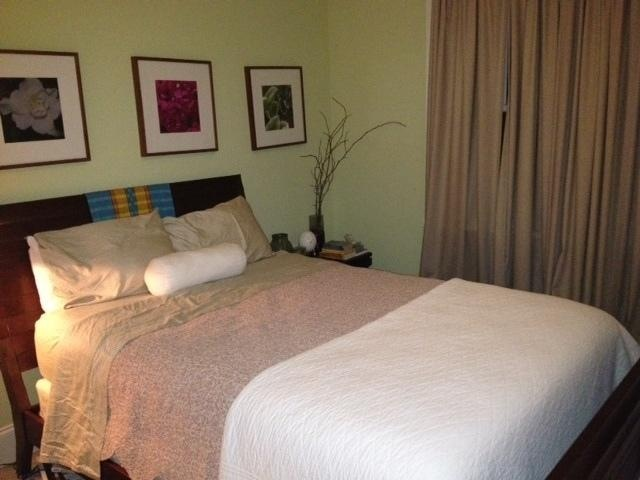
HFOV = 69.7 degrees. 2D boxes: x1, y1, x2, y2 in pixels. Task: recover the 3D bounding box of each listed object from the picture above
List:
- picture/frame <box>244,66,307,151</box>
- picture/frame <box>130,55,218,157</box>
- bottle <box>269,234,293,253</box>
[{"bbox_3d":[-0.414,-1.161,4.020,0.049,0.712,0.684,8,17,36],"label":"picture/frame"},{"bbox_3d":[-1.095,-0.989,3.368,0.052,0.733,0.686,10,17,44],"label":"picture/frame"},{"bbox_3d":[-0.325,0.030,3.898,0.154,0.171,0.160,-8,3,-22],"label":"bottle"}]
